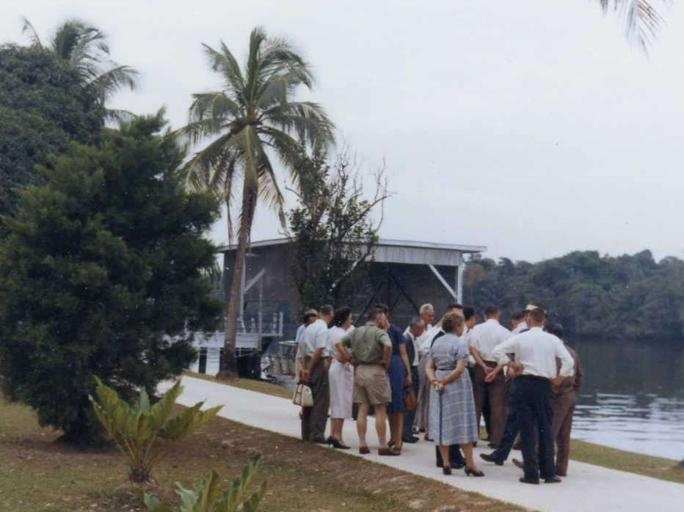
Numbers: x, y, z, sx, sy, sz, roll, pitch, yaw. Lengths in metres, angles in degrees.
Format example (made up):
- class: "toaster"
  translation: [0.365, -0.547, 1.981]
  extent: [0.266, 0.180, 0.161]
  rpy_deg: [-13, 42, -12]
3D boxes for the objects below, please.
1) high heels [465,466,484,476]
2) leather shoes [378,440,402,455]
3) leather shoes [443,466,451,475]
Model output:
- class: "high heels"
  translation: [2.183, 3.617, 17.669]
  extent: [0.346, 0.198, 0.129]
  rpy_deg: [-2, -2, 2]
- class: "leather shoes"
  translation: [0.863, 3.413, 18.701]
  extent: [0.560, 0.245, 0.167]
  rpy_deg: [4, -6, -44]
- class: "leather shoes"
  translation: [1.732, 3.586, 17.583]
  extent: [0.110, 0.151, 0.359]
  rpy_deg: [2, -2, 6]
